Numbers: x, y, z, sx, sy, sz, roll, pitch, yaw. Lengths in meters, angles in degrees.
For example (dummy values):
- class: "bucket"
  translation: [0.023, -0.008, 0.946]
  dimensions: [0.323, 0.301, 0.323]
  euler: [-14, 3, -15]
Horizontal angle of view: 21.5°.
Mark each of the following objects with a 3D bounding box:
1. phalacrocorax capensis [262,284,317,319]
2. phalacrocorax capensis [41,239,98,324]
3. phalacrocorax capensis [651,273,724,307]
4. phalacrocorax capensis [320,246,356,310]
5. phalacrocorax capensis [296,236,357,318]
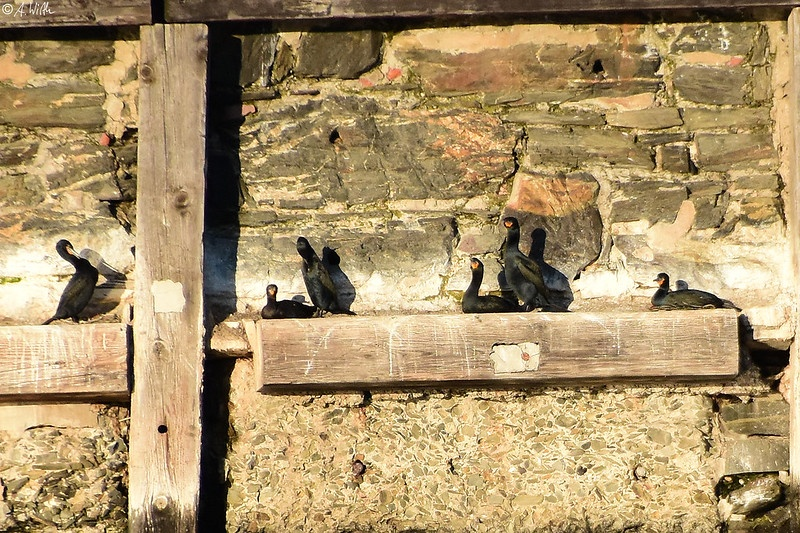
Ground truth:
- class: "phalacrocorax capensis"
  translation: [-0.688, 0.211, 12.809]
  dimensions: [0.319, 0.223, 0.231]
  euler: [-1, 12, 2]
- class: "phalacrocorax capensis"
  translation: [-2.011, 0.091, 12.833]
  dimensions: [0.225, 0.495, 0.374]
  euler: [7, 15, 33]
- class: "phalacrocorax capensis"
  translation: [1.764, 0.165, 12.823]
  dimensions: [0.477, 0.230, 0.165]
  euler: [1, 6, 9]
- class: "phalacrocorax capensis"
  translation: [-0.390, 0.087, 12.940]
  dimensions: [0.111, 0.374, 0.170]
  euler: [-12, -16, -41]
- class: "phalacrocorax capensis"
  translation: [-0.460, 0.094, 12.972]
  dimensions: [0.192, 0.445, 0.682]
  euler: [-3, -10, 33]
